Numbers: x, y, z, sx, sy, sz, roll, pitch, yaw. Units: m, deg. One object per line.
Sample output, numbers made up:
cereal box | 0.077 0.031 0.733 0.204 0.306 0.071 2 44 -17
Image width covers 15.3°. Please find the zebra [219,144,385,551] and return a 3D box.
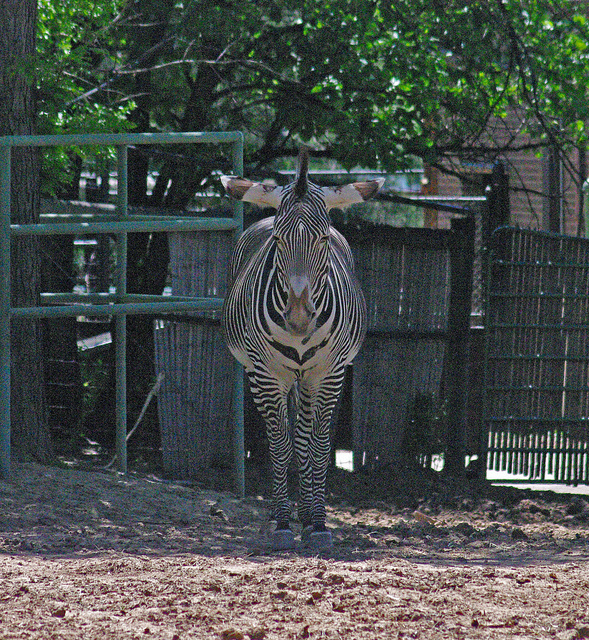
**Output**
zebra | 0.018 0.234 16.658 1.117 2.975 1.924 1 0 -2
